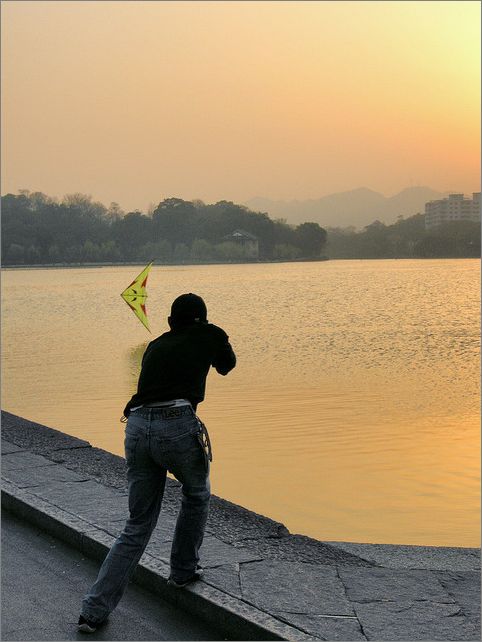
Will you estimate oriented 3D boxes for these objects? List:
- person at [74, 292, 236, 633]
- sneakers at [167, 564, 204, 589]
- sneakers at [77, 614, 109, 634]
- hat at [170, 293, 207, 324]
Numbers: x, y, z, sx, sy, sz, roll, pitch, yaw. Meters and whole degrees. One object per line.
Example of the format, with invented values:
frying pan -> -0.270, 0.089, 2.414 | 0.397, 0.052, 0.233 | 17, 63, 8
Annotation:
person -> -0.419, 0.768, 4.562 | 0.795, 1.498, 0.341 | 0, 2, -10
sneakers -> -0.287, 1.345, 4.725 | 0.076, 0.081, 0.207 | 15, 20, 33
sneakers -> -0.731, 1.469, 4.440 | 0.061, 0.068, 0.174 | 10, 8, 27
hat -> -0.269, -0.065, 4.782 | 0.156, 0.169, 0.176 | 4, 4, -1
